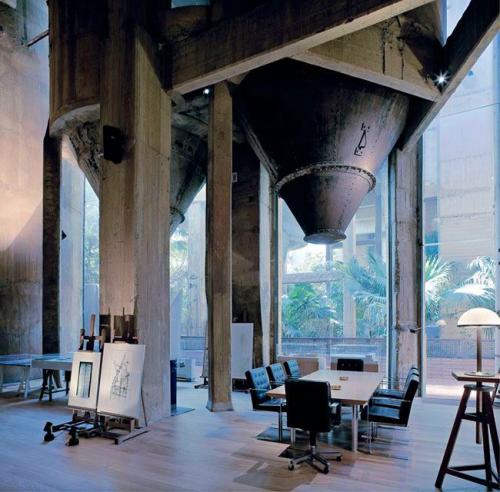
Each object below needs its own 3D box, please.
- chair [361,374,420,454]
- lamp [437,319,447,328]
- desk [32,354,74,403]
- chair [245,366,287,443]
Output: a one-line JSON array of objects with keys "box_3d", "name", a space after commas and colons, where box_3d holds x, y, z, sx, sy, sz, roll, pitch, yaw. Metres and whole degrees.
[{"box_3d": [1.837, 2.177, 6.581, 0.566, 0.934, 1.204, 2, -10, 16], "name": "chair"}, {"box_3d": [3.751, 1.510, 9.713, 0.128, 0.124, 0.133, -3, -12, 23], "name": "lamp"}, {"box_3d": [-3.771, 2.549, 9.345, 0.440, 0.742, 0.879, 12, -13, -19], "name": "desk"}, {"box_3d": [0.301, 2.086, 6.944, 0.591, 1.358, 0.748, -2, -3, 20], "name": "chair"}]
